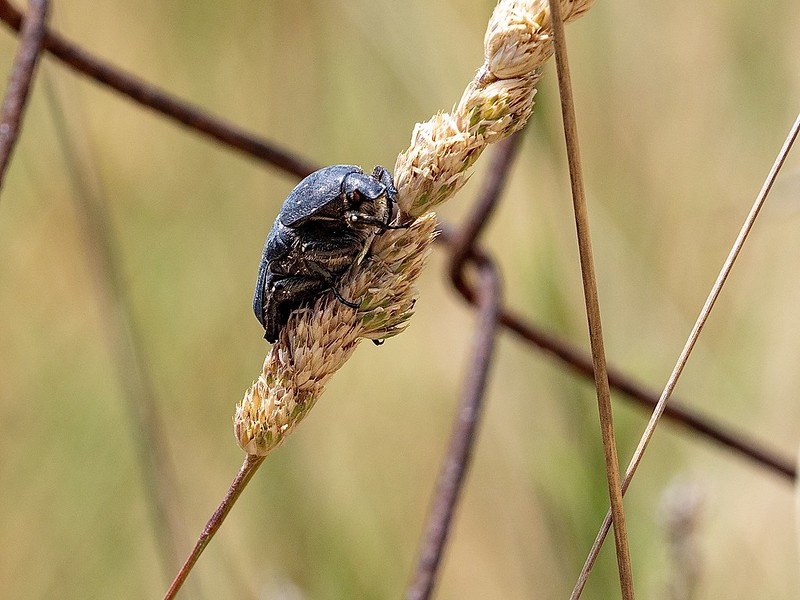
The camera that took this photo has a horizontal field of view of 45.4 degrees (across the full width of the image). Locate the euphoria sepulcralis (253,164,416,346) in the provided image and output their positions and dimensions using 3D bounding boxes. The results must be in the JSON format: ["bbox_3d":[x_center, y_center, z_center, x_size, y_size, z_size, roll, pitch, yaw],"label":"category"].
[{"bbox_3d":[-0.080,-0.057,1.021,0.174,0.139,0.143,-16,-94,22],"label":"euphoria sepulcralis"}]
